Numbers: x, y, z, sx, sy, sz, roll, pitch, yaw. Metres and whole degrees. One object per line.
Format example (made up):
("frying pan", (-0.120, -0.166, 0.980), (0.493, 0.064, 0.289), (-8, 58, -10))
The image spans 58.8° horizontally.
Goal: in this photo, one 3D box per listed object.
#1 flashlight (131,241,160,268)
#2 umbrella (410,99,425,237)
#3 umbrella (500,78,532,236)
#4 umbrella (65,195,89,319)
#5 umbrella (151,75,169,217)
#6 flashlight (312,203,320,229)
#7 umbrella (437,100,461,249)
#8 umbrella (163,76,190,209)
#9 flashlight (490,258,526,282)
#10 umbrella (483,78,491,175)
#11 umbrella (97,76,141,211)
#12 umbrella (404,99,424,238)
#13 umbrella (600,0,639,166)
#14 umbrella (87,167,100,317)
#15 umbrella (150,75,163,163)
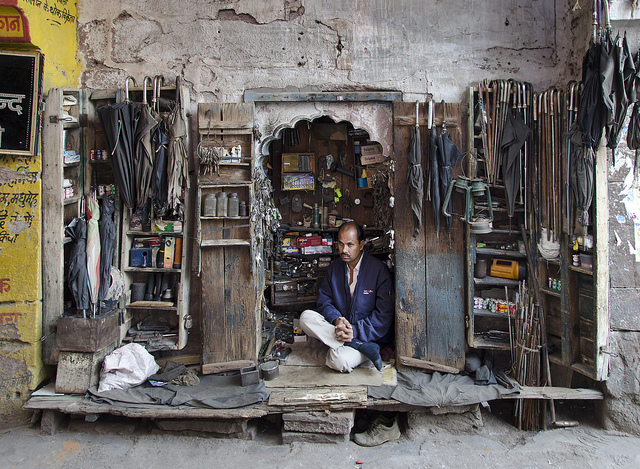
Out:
("flashlight", (-2.130, 0.239, 7.013), (0.290, 0.326, 0.292), (1, 3, 1))
("umbrella", (1.154, -0.691, 6.763), (0.181, 1.402, 0.155), (-1, 1, 10))
("umbrella", (2.266, -0.867, 6.643), (0.312, 1.252, 0.117), (-1, 1, 17))
("umbrella", (-2.858, 0.249, 6.733), (0.242, 1.417, 0.426), (-2, 2, -26))
("umbrella", (-1.938, -1.035, 6.770), (0.266, 1.679, 0.314), (1, 14, -20))
("flashlight", (-0.053, -0.260, 8.176), (0.100, 0.343, 0.101), (-1, 1, -1))
("umbrella", (1.522, -0.710, 6.711), (0.250, 1.741, 0.160), (-1, 1, 9))
("umbrella", (-1.717, -1.105, 6.796), (0.274, 1.554, 0.193), (-1, 1, 1))
("flashlight", (2.276, 0.418, 6.914), (0.412, 0.262, 0.152), (-1, 1, 21))
("umbrella", (1.985, -1.281, 6.761), (0.071, 1.119, 0.147), (-1, 1, 10))
("umbrella", (-2.318, -1.132, 6.864), (0.551, 1.658, 0.543), (-7, -6, -2))
("umbrella", (1.111, -0.776, 6.766), (0.213, 1.619, 0.150), (-1, 1, 9))
("umbrella", (3.185, -1.675, 6.125), (0.428, 1.798, 0.309), (-1, 1, 2))
("umbrella", (-2.654, 0.235, 6.725), (0.147, 1.379, 0.238), (-2, 1, -23))
("umbrella", (-1.934, -1.381, 6.782), (0.139, 1.037, 0.151), (-1, 1, -8))
